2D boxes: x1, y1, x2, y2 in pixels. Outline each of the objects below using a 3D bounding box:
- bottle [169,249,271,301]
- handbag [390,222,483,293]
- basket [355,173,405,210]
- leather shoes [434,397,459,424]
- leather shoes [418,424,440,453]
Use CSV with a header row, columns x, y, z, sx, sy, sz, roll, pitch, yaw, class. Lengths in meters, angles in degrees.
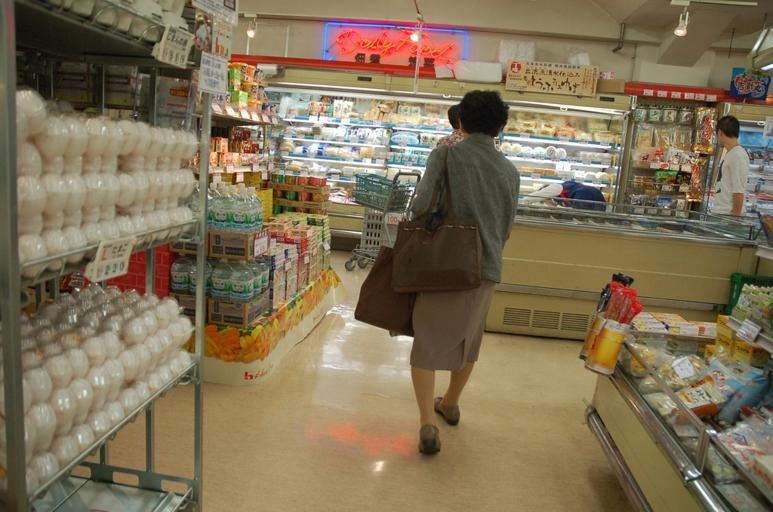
x,y,z,sx,sy,sz,roll,pitch,yaw,class
-1.104,0.052,3.590,0.454,0.286,0.348,2,4,3,bottle
0.289,0.014,2.888,0.365,0.291,0.132,1,15,8,handbag
-0.106,-0.601,4.821,0.446,0.199,0.290,25,23,28,basket
0.386,1.011,3.467,0.090,0.092,0.231,0,8,-8,leather shoes
0.251,1.056,3.025,0.080,0.098,0.222,-1,-12,2,leather shoes
